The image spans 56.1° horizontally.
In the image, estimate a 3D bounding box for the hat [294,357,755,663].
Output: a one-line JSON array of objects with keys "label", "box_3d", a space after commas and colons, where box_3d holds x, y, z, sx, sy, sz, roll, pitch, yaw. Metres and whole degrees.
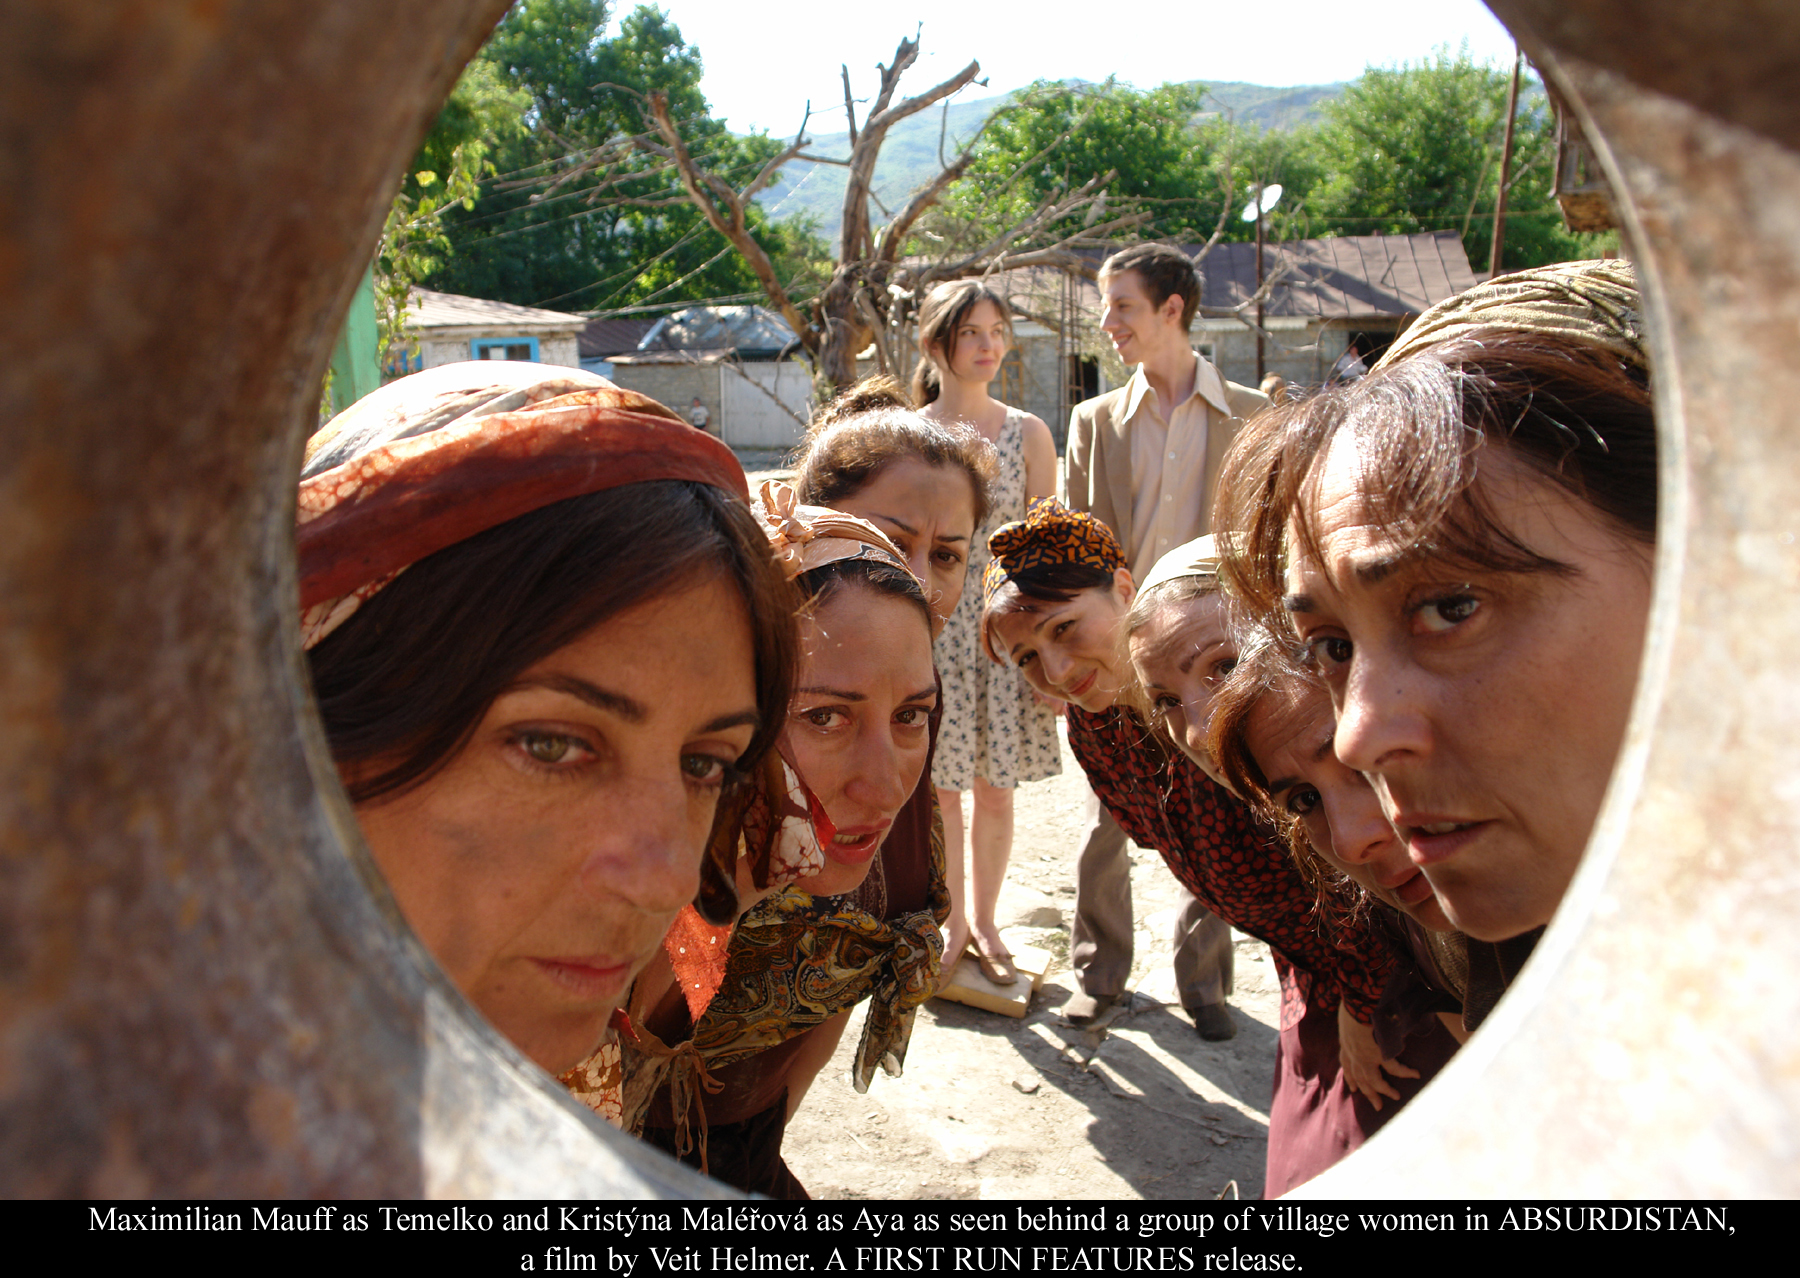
[{"label": "hat", "box_3d": [-0.427, -0.124, 1.786, 0.387, 0.212, 0.316, -29, 9, -36]}]

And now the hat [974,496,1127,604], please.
[{"label": "hat", "box_3d": [0.339, -0.210, 3.850, 0.258, 0.181, 0.226, -2, -7, 13]}]

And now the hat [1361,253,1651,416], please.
[{"label": "hat", "box_3d": [0.659, -0.337, 1.813, 0.317, 0.158, 0.253, 6, 6, 33]}]

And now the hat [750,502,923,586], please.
[{"label": "hat", "box_3d": [-0.141, -0.182, 2.661, 0.154, 0.097, 0.130, 19, 29, 9]}]

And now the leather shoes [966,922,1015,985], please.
[{"label": "leather shoes", "box_3d": [0.264, 0.902, 4.812, 0.082, 0.059, 0.219, -13, 46, -13]}]
